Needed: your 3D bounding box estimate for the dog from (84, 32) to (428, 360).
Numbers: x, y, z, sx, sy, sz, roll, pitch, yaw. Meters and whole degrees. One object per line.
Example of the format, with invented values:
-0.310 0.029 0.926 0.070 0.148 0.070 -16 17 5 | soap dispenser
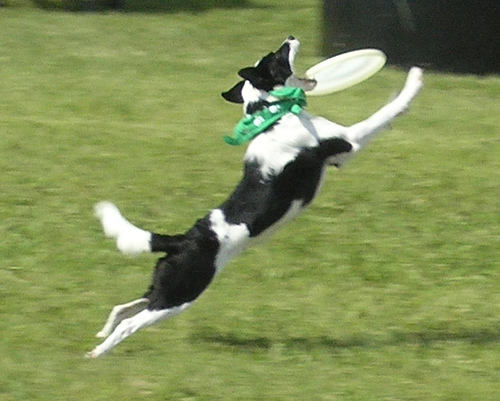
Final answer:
0.047 0.061 12.838 3.732 1.389 1.080 -39 32 -9 | dog
